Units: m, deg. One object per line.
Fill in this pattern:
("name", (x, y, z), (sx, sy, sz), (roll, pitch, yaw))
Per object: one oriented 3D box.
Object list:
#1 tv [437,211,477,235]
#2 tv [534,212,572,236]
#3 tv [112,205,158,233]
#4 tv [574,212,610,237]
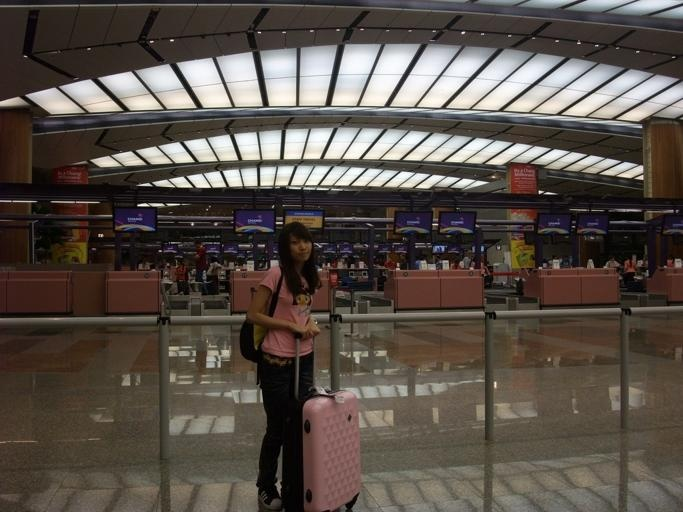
("tv", (4.921, -1.397, 23.390), (1.449, 0.672, 0.128), (0, 6, -3))
("tv", (9.021, -1.366, 23.336), (1.340, 0.681, 0.120), (1, 3, -3))
("tv", (-7.672, -1.334, 20.267), (1.477, 0.675, 0.163), (-1, 12, -18))
("tv", (10.889, -1.392, 23.749), (1.937, 0.885, 0.487), (-1, 6, -24))
